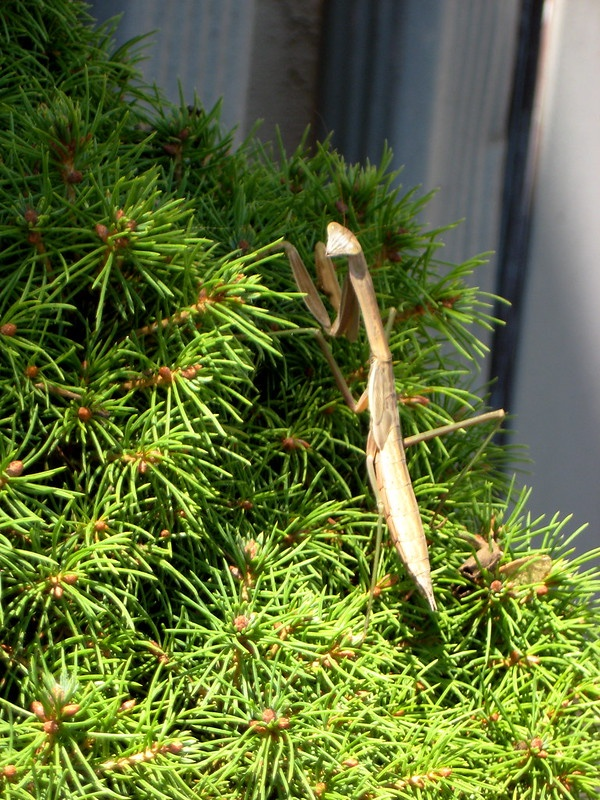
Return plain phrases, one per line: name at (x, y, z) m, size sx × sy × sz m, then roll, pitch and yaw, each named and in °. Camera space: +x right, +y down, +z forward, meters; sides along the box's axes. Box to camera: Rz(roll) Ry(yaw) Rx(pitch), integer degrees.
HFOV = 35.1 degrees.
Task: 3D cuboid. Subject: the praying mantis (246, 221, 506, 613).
praying mantis at (0.033, 0.009, 0.538) m, size 0.129 × 0.066 × 0.189 m, roll -6°, pitch 65°, yaw -36°
